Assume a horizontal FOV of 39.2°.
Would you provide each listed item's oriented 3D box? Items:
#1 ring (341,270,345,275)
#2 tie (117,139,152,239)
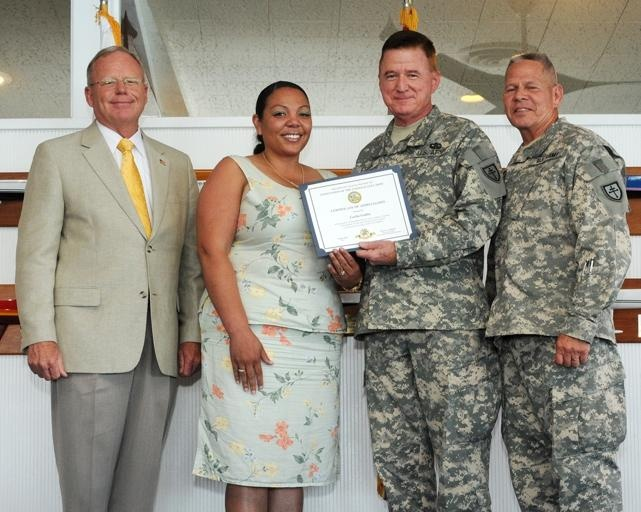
[{"bbox_3d":[0.077,0.059,3.217,0.014,0.013,0.005,-4,13,-11],"label":"ring"},{"bbox_3d":[-0.684,-0.267,3.300,0.087,0.461,0.082,-14,-17,-10],"label":"tie"}]
